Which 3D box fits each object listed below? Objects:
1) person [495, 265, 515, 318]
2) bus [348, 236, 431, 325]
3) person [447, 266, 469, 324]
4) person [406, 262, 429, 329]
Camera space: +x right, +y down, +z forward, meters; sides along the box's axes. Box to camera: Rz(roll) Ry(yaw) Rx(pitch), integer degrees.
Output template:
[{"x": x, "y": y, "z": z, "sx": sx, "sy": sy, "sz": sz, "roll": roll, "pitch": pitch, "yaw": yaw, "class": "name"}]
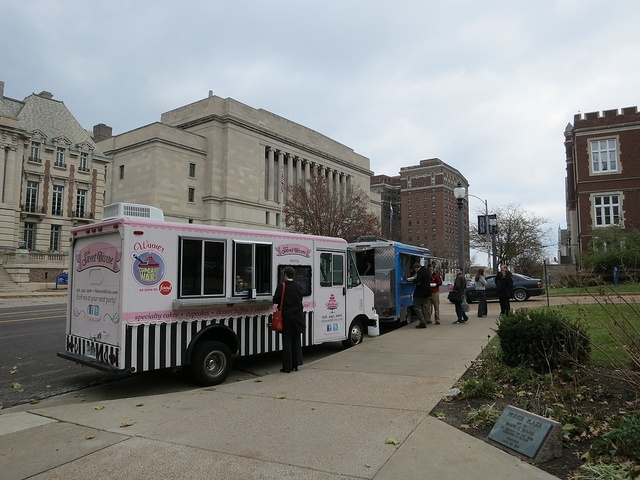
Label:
[{"x": 5.923, "y": 1.588, "z": 15.789, "sx": 0.463, "sy": 1.470, "sz": 1.322, "roll": -3, "pitch": -6, "yaw": 20, "class": "person"}, {"x": 2.474, "y": 1.560, "z": 17.399, "sx": 1.934, "sy": 2.218, "sz": 3.321, "roll": -7, "pitch": -17, "yaw": 28, "class": "bus"}, {"x": 4.681, "y": 1.890, "z": 16.663, "sx": 0.540, "sy": 1.903, "sz": 0.896, "roll": -3, "pitch": -5, "yaw": 18, "class": "person"}, {"x": 3.406, "y": 1.916, "z": 16.285, "sx": 0.561, "sy": 1.971, "sz": 0.737, "roll": -1, "pitch": -5, "yaw": 0, "class": "person"}]
